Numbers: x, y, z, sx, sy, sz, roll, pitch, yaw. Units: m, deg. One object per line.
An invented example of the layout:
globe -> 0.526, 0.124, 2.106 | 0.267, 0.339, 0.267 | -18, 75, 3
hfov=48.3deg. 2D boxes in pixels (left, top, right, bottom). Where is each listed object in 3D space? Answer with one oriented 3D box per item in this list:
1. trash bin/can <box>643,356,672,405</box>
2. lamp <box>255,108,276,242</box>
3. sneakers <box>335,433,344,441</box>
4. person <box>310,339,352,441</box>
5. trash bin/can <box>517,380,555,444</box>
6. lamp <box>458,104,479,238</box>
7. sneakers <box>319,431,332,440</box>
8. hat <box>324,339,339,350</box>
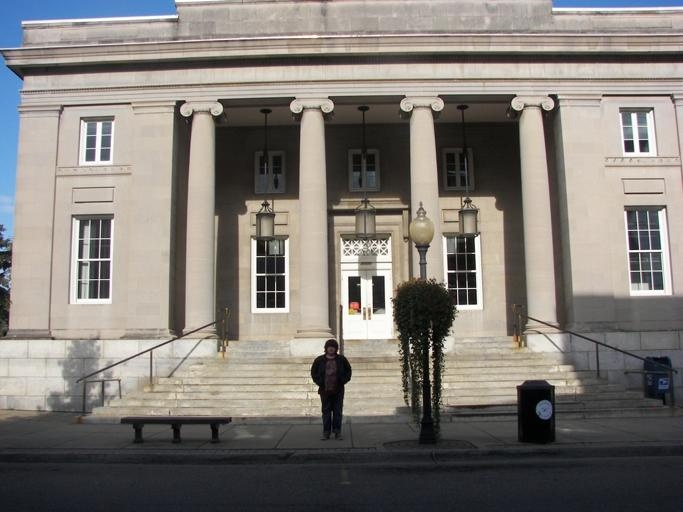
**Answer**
trash bin/can -> 9.963, 3.938, 23.989 | 0.824, 1.510, 2.464 | -1, -1, 22
lamp -> -2.633, -2.930, 26.986 | 0.840, 4.265, 0.764 | -1, 5, -13
sneakers -> -0.051, 4.396, 18.457 | 0.187, 0.193, 0.115 | 2, -36, -5
person -> -0.244, 3.247, 18.718 | 0.887, 2.346, 0.743 | 0, -2, -30
trash bin/can -> 4.477, 3.571, 17.516 | 0.819, 1.360, 0.563 | -1, -1, 11
lamp -> 4.695, -3.151, 28.322 | 0.664, 4.829, 2.077 | -1, -1, 10
sneakers -> -0.384, 4.382, 18.460 | 0.107, 0.221, 0.316 | -9, -21, 30
hat -> -0.248, 2.212, 18.921 | 0.279, 0.225, 0.287 | 3, 6, 0
